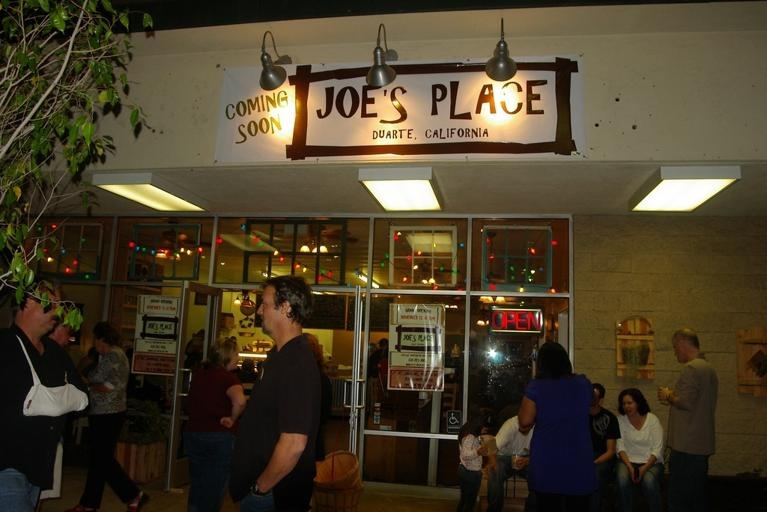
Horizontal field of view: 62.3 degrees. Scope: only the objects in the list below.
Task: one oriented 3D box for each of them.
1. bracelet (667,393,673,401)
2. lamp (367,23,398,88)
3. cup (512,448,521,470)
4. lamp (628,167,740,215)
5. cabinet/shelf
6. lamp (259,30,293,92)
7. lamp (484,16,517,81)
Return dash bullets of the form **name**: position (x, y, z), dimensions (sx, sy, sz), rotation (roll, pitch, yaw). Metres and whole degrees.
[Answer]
- **bracelet**: position (3.162, 1.562, 7.015), dimensions (0.049, 0.049, 0.046), rotation (1, -47, 42)
- **lamp**: position (-0.008, -2.221, 6.914), dimensions (0.332, 0.807, 0.559), rotation (2, -11, -2)
- **cup**: position (1.528, 2.372, 7.350), dimensions (0.174, 0.169, 0.096), rotation (-3, 4, -44)
- **lamp**: position (3.412, -0.778, 7.297), dimensions (0.868, 0.201, 1.149), rotation (1, -10, 2)
- **cabinet/shelf**: position (-3.933, 0.742, 10.081), dimensions (0.593, 1.343, 0.162), rotation (0, -26, -25)
- **lamp**: position (-1.231, -2.229, 7.249), dimensions (0.376, 0.678, 0.511), rotation (-1, -35, 8)
- **lamp**: position (1.255, -2.231, 6.787), dimensions (0.321, 0.742, 0.493), rotation (0, -11, 12)
